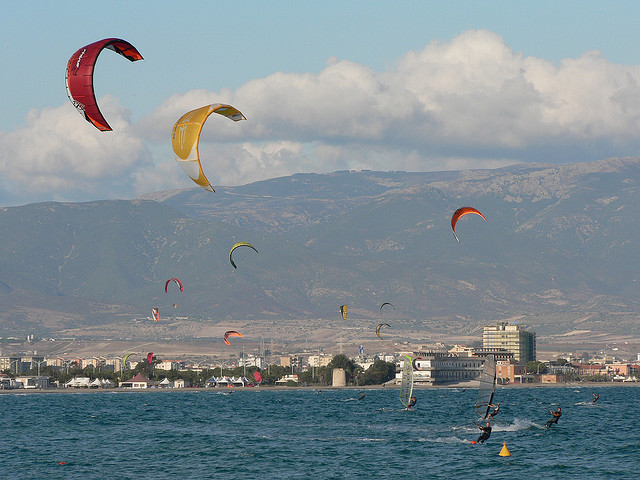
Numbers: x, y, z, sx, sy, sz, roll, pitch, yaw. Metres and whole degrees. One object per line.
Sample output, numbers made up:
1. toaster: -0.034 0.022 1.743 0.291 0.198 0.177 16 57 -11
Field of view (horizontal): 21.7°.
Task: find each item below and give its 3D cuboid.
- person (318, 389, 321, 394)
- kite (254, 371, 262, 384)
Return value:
1. person: 0.449 44.185 485.895 0.580 0.764 1.868 2 50 -6
2. kite: -18.966 43.186 520.154 2.108 3.789 1.565 -20 11 -28
